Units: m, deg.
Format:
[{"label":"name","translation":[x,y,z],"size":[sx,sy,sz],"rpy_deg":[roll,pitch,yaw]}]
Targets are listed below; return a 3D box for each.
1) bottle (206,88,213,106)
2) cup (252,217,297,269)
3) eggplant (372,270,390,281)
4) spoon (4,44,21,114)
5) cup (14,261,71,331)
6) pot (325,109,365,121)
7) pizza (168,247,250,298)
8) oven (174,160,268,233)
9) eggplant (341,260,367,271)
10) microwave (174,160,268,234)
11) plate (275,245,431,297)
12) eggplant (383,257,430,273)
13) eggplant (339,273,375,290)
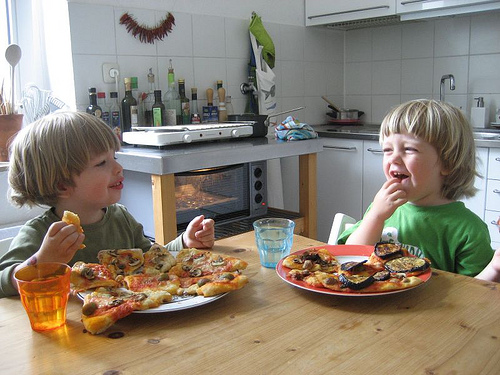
[{"label":"bottle","translation":[-0.301,-0.673,2.612],"size":[0.051,0.125,0.113],"rpy_deg":[-3,15,-6]},{"label":"cup","translation":[0.056,0.126,0.887],"size":[0.112,0.116,0.111],"rpy_deg":[-1,3,0]},{"label":"eggplant","translation":[0.267,0.178,0.723],"size":[0.023,0.006,0.025],"rpy_deg":[-2,5,24]},{"label":"spoon","translation":[-1.304,-0.602,1.945],"size":[0.088,0.402,0.058],"rpy_deg":[0,1,-14]},{"label":"cup","translation":[-0.357,0.203,0.626],"size":[0.076,0.083,0.077],"rpy_deg":[-9,-8,-1]},{"label":"pot","translation":[0.899,-0.704,3.380],"size":[0.370,0.101,0.271],"rpy_deg":[4,16,15]},{"label":"pizza","translation":[-0.090,0.186,0.752],"size":[0.172,0.030,0.180],"rpy_deg":[0,19,-3]},{"label":"oven","translation":[-0.191,0.045,2.243],"size":[0.653,0.403,0.408],"rpy_deg":[-13,15,-43]},{"label":"eggplant","translation":[0.213,0.168,0.756],"size":[0.028,0.008,0.026],"rpy_deg":[-5,8,-27]},{"label":"microwave","translation":[-0.190,0.044,2.234],"size":[0.660,0.407,0.407],"rpy_deg":[-13,16,-43]},{"label":"plate","translation":[0.224,0.134,0.799],"size":[0.260,0.085,0.233],"rpy_deg":[5,10,34]},{"label":"eggplant","translation":[0.330,0.165,0.758],"size":[0.095,0.015,0.054],"rpy_deg":[-4,16,-12]},{"label":"eggplant","translation":[0.208,0.180,0.691],"size":[0.063,0.019,0.043],"rpy_deg":[-5,16,-15]}]
